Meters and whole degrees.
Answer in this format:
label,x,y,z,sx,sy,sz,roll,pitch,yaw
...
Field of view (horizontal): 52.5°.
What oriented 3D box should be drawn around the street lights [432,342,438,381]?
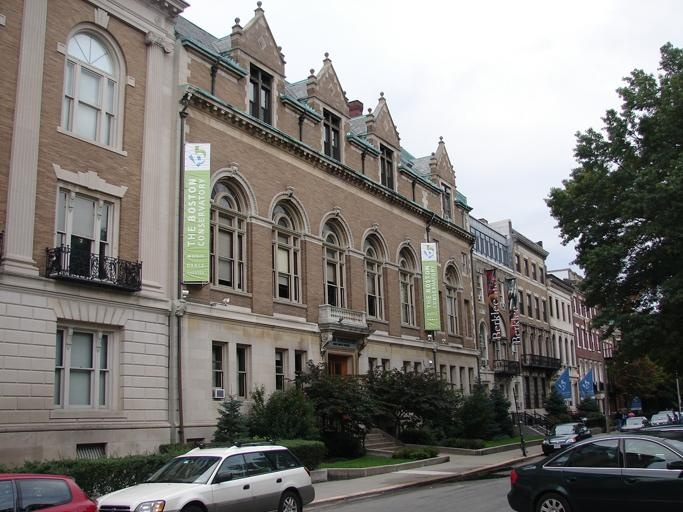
label,x,y,z,sx,sy,sz,roll,pitch,yaw
street lights,6.338,6.843,46.969,0.299,1.893,0.944,-9,-19,16
